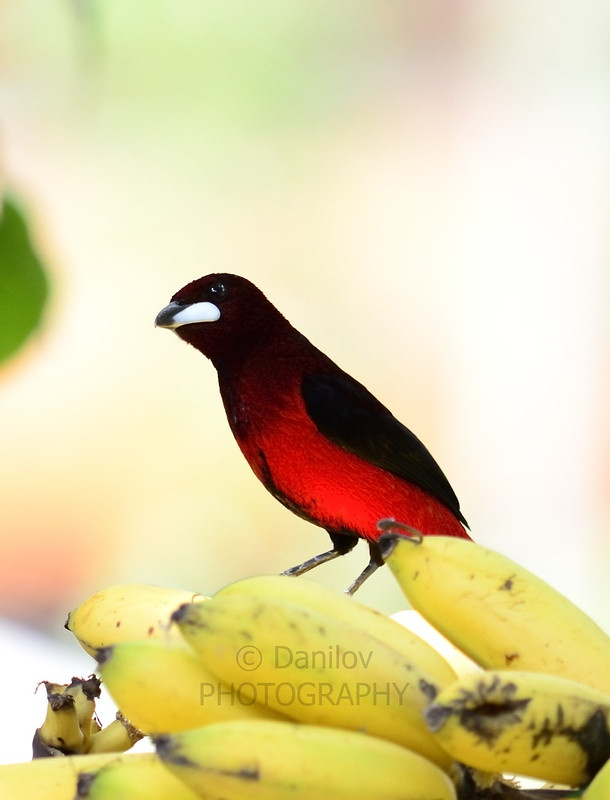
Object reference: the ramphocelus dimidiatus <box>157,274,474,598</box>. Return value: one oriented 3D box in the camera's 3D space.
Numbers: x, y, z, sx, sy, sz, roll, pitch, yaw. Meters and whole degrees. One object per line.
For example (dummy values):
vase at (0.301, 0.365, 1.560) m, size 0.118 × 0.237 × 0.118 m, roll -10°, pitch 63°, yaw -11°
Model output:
ramphocelus dimidiatus at (0.043, 0.048, 1.107) m, size 0.505 × 0.336 × 0.210 m, roll 9°, pitch -11°, yaw -37°
